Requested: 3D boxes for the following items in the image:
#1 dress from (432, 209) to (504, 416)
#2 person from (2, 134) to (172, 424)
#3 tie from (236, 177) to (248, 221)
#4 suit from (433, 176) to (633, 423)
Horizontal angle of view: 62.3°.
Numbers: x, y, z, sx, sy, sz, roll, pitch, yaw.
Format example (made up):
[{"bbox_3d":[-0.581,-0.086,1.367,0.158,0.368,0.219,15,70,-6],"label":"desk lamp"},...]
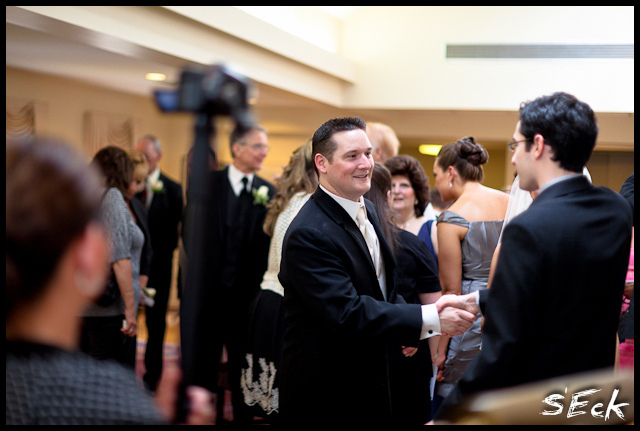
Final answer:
[{"bbox_3d":[0.729,0.586,3.242,0.500,1.183,0.520,5,14,7],"label":"dress"},{"bbox_3d":[-0.869,0.266,1.864,0.656,1.080,0.266,3,4,6],"label":"person"},{"bbox_3d":[-0.527,-0.106,3.477,0.053,0.323,0.056,3,-20,17],"label":"tie"},{"bbox_3d":[0.854,0.337,2.050,0.716,0.988,0.219,2,4,-13],"label":"suit"}]
